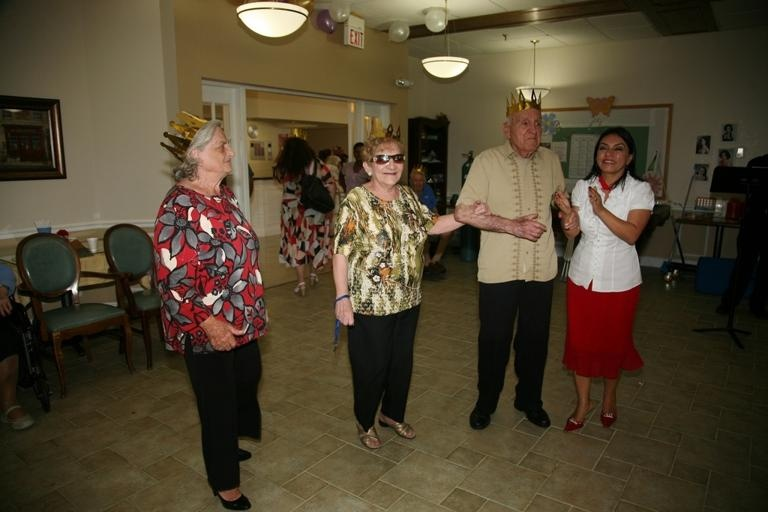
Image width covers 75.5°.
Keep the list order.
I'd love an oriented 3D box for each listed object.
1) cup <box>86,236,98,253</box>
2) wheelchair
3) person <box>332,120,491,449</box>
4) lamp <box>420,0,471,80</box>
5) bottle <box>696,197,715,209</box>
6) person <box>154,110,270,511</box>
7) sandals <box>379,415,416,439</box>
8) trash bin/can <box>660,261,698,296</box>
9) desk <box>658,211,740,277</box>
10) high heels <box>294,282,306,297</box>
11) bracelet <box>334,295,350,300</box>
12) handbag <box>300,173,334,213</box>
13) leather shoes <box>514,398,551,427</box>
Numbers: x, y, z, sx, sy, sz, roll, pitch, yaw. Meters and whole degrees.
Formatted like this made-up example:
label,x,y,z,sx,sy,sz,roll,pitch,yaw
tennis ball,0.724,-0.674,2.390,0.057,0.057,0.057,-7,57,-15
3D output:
label,x,y,z,sx,sy,sz,roll,pitch,yaw
cup,-3.211,-0.116,5.516,0.123,0.194,0.193,0,-1,0
wheelchair,-3.186,0.882,4.494,0.439,0.589,0.939,-2,22,-41
person,0.019,0.338,3.879,0.816,2.460,0.428,-4,12,-12
lamp,1.005,-3.363,8.058,0.702,1.063,2.193,0,13,6
bottle,5.330,-0.940,8.214,0.250,0.178,0.194,15,30,37
person,-1.168,0.452,3.500,0.548,2.729,0.556,4,13,24
sandals,0.122,1.422,4.215,0.304,0.098,0.147,12,23,31
trash bin/can,4.857,0.320,8.249,0.554,0.260,0.584,4,20,29
desk,5.013,-0.322,7.975,1.128,1.212,1.169,4,6,40
high heels,-1.222,0.483,7.291,0.096,0.146,0.267,-5,11,-16
bracelet,-0.298,0.296,3.644,0.107,0.048,0.077,-4,13,-12
handbag,-0.953,-0.878,7.012,0.476,0.558,0.252,-2,12,-2
leather shoes,1.303,1.361,4.325,0.161,0.152,0.347,-40,46,-16
